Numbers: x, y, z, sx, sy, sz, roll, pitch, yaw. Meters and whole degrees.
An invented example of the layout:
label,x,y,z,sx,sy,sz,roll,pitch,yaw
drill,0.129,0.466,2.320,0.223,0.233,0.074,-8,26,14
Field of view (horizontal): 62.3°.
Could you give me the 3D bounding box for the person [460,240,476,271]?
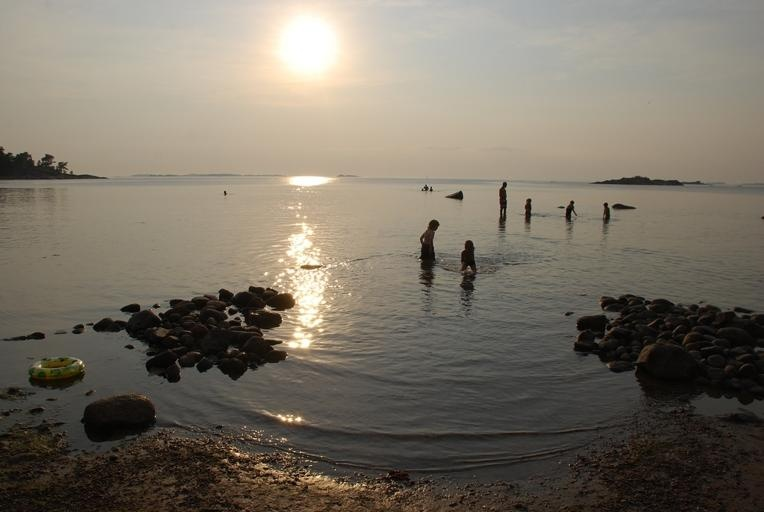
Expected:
label,x,y,z,sx,sy,sz,roll,pitch,yaw
person,4.903,0.006,35.720,0.797,1.721,1.043,2,8,6
